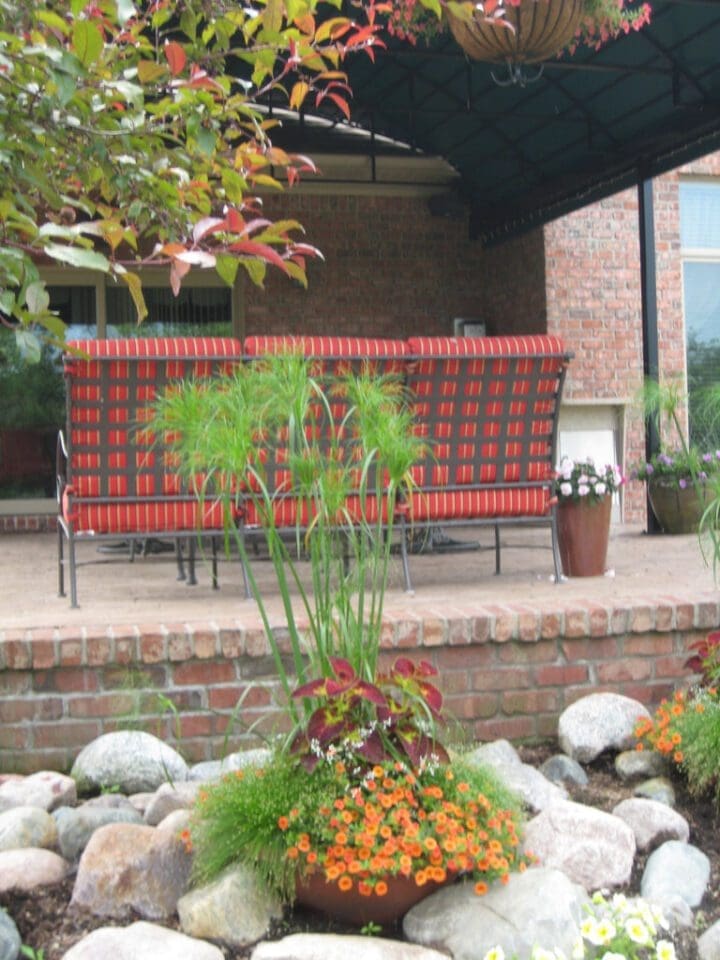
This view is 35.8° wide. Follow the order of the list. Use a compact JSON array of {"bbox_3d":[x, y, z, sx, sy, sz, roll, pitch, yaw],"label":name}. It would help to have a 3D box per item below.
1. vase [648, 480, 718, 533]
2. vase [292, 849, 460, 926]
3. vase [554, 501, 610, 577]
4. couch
[{"bbox_3d":[1.639,0.133,5.653,0.186,0.243,0.225,0,-1,12],"label":"vase"},{"bbox_3d":[0.032,0.752,2.023,0.297,0.157,0.141,-3,3,-8],"label":"vase"},{"bbox_3d":[0.798,0.235,4.107,0.175,0.351,0.223,0,-5,-2],"label":"vase"},{"bbox_3d":[-0.100,-0.037,3.598,1.703,0.878,0.588,-4,4,-23],"label":"couch"}]
